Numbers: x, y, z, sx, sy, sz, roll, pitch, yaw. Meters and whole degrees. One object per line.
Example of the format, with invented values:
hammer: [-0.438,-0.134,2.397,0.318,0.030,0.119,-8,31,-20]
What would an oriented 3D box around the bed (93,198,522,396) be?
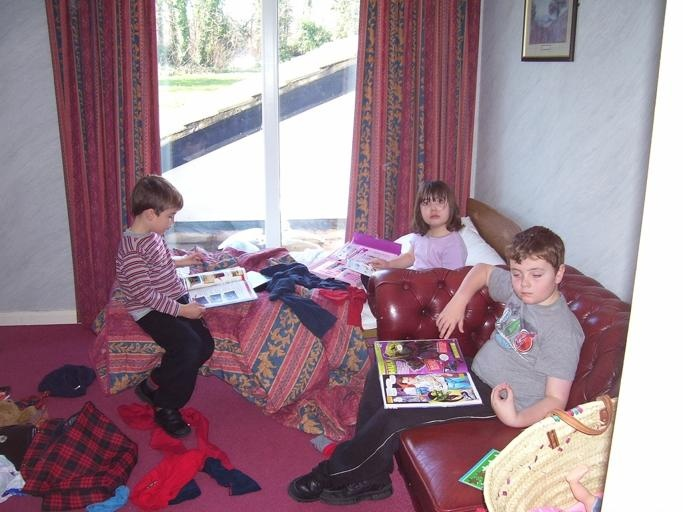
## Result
bed: [-0.312,0.464,2.607,1.652,0.750,1.281,-7,67,-3]

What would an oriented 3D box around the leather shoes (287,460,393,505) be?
leather shoes: [-0.018,0.971,2.194,0.463,0.225,0.176,3,33,-2]

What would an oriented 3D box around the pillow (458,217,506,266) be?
pillow: [0.865,-0.060,2.982,0.484,0.305,0.130,-5,22,-43]

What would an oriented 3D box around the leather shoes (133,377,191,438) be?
leather shoes: [-0.880,0.757,2.486,0.287,0.128,0.089,39,45,18]

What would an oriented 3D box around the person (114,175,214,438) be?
person: [-0.878,0.227,2.524,0.374,1.213,0.547,-12,19,-31]

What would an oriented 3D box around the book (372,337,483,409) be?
book: [0.333,0.446,2.004,0.245,0.029,0.273,-2,34,-1]

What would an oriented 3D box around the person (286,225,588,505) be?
person: [0.297,0.346,2.356,1.279,1.387,0.883,0,24,-1]
